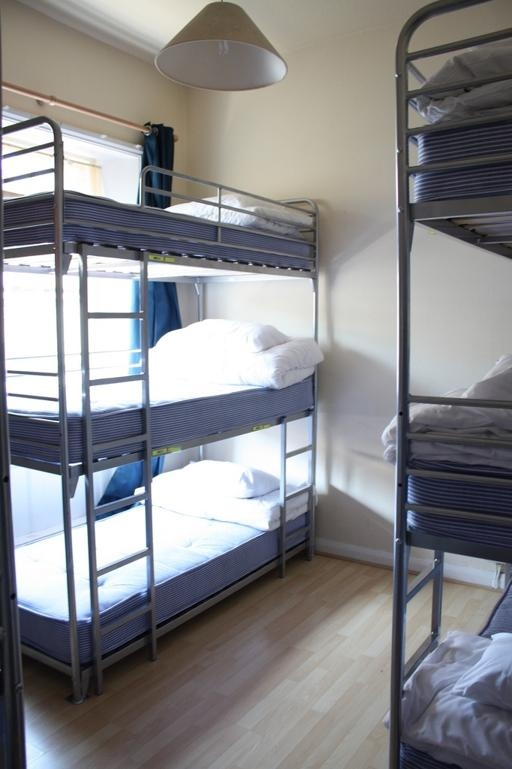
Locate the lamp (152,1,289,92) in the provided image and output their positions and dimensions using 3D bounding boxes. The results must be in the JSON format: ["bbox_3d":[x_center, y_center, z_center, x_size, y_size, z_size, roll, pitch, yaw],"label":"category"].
[{"bbox_3d":[-0.111,-1.213,2.154,0.442,0.253,0.382,-3,4,-30],"label":"lamp"}]
